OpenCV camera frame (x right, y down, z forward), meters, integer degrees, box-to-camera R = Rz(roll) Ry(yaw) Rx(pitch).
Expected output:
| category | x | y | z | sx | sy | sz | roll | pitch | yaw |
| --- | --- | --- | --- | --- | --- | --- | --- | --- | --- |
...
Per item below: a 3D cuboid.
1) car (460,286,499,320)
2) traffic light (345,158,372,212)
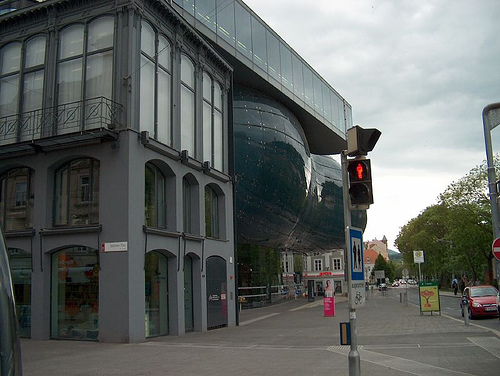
| category | x | y | z | sx | sy | sz | roll | pitch | yaw |
| --- | --- | --- | --- | --- | --- | --- | --- | --- | --- |
| car | 11.853 | 5.927 | 24.700 | 1.300 | 1.335 | 2.632 | -3 | -20 | 13 |
| traffic light | 2.179 | -0.090 | 9.589 | 0.661 | 0.898 | 0.377 | 8 | -2 | 31 |
